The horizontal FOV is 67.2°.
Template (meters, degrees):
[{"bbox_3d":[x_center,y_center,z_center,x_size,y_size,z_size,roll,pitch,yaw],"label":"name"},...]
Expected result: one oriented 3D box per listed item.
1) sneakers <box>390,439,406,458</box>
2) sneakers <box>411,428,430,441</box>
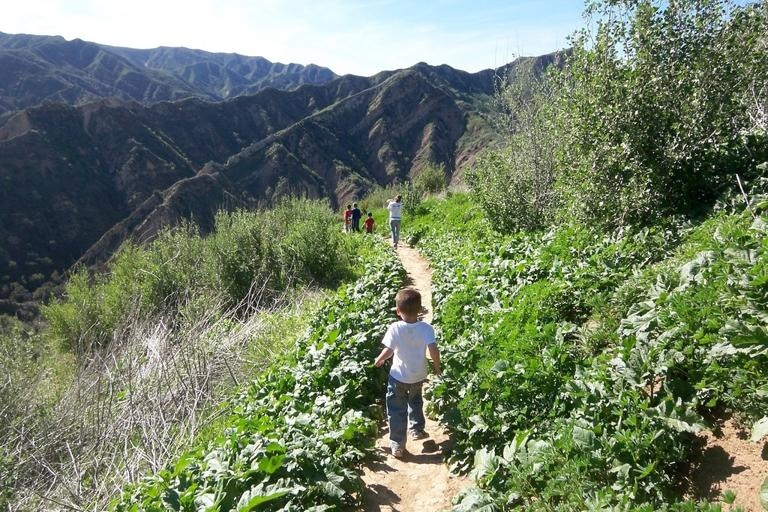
[{"bbox_3d":[0.191,2.734,8.186,0.144,0.270,0.083,3,9,14],"label":"sneakers"},{"bbox_3d":[0.511,2.570,8.325,0.225,0.182,0.126,3,-7,-3],"label":"sneakers"}]
